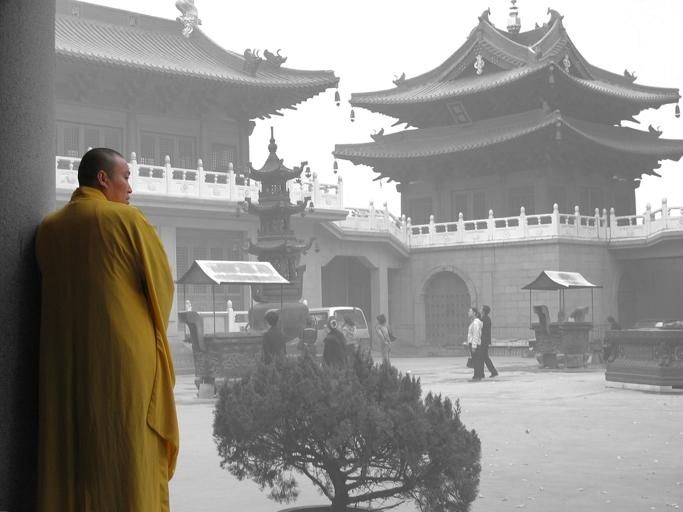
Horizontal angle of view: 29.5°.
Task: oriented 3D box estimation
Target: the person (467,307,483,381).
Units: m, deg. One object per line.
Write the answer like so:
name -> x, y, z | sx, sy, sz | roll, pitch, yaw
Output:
person -> 2.644, 1.737, 25.352 | 0.292, 1.327, 1.136 | 2, 1, 6
